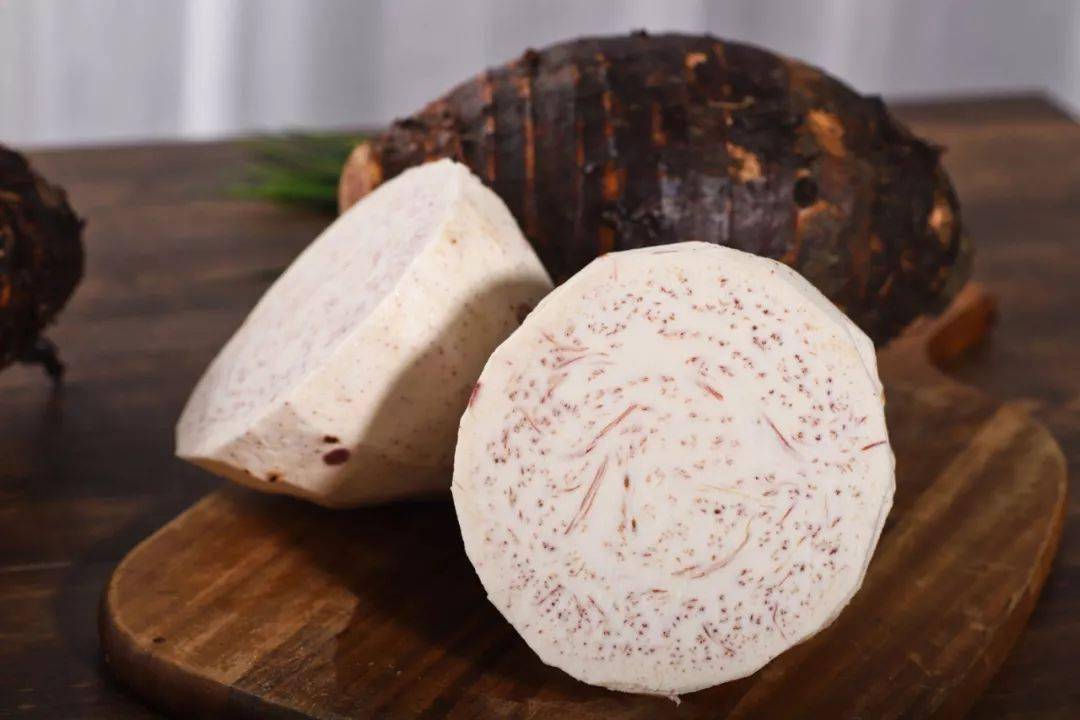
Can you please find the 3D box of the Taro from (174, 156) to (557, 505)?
[{"bbox_3d":[-0.223,-0.016,1.705,0.314,0.474,0.473,32,23,-17],"label":"Taro"}]

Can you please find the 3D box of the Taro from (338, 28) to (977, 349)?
[{"bbox_3d":[0.200,-0.163,2.002,0.859,0.472,0.543,-1,-7,4],"label":"Taro"}]
